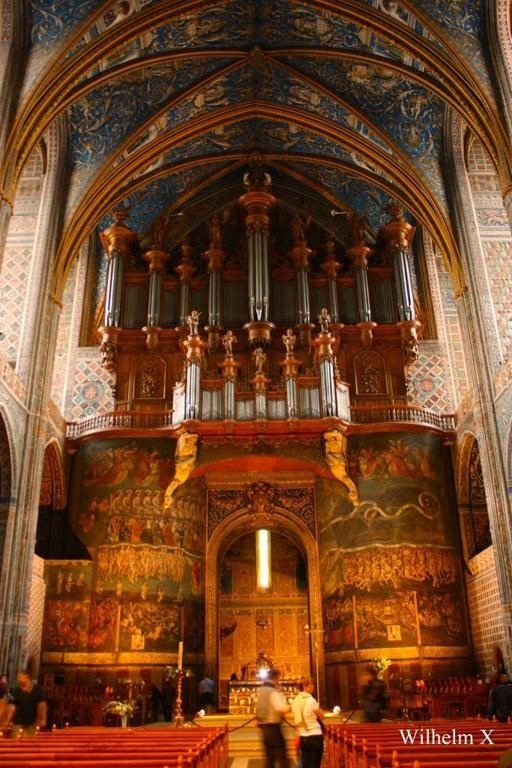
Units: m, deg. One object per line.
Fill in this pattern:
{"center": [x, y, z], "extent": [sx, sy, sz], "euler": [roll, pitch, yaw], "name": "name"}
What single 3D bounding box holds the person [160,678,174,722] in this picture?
{"center": [-2.481, 8.765, 16.984], "extent": [0.408, 1.046, 0.388], "euler": [8, -28, -16], "name": "person"}
